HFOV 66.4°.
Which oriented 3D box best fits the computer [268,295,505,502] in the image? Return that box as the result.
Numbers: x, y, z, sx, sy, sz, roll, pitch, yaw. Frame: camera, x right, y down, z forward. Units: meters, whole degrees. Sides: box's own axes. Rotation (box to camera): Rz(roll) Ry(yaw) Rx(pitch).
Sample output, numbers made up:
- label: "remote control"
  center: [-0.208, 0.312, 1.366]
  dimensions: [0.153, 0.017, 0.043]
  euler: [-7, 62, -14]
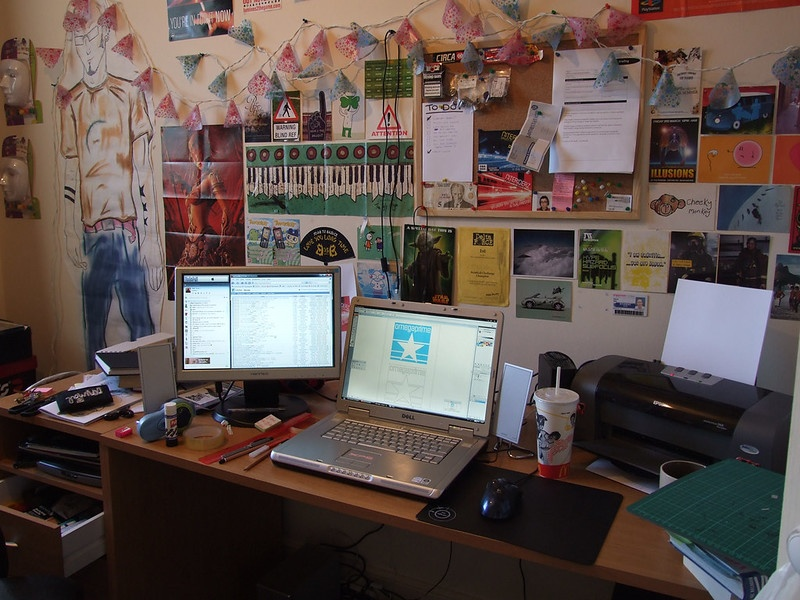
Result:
- label: "computer"
  center: [-0.027, 0.279, 1.805]
  dimensions: [0.624, 0.479, 0.562]
  euler: [6, 10, 28]

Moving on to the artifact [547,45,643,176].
- label: "artifact"
  center: [0.661, -0.645, 2.035]
  dimensions: [0.375, 0.509, 0.088]
  euler: [7, 15, 23]

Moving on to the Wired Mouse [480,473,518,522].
- label: "Wired Mouse"
  center: [0.272, 0.516, 1.640]
  dimensions: [0.095, 0.056, 0.158]
  euler: [16, 21, 38]

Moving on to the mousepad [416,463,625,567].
- label: "mousepad"
  center: [0.324, 0.566, 1.638]
  dimensions: [0.502, 0.074, 0.293]
  euler: [4, 9, 21]

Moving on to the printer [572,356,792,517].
- label: "printer"
  center: [0.784, 0.337, 1.773]
  dimensions: [0.574, 0.248, 0.284]
  euler: [6, 10, 32]
